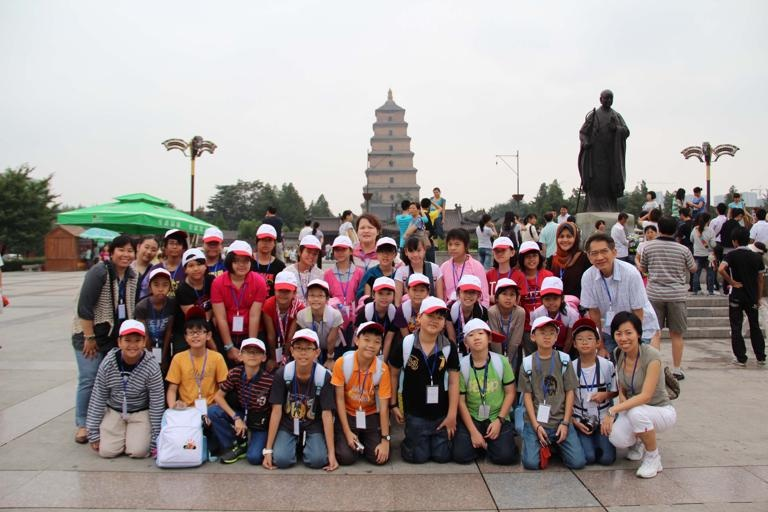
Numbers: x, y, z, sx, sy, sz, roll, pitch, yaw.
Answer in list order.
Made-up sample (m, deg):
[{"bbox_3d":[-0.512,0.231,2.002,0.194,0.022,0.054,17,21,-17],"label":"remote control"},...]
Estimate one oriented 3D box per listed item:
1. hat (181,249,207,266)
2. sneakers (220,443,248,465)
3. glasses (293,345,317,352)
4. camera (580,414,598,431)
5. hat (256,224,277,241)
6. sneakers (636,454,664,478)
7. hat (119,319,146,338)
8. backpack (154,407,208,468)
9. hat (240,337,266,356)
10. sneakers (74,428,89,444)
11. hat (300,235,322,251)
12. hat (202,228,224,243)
[{"bbox_3d":[-2.533,0.003,8.545,0.202,0.157,0.279,-6,-23,-25],"label":"hat"},{"bbox_3d":[-1.784,2.367,7.719,0.127,0.186,0.388,13,16,35],"label":"sneakers"},{"bbox_3d":[-0.933,1.079,7.646,0.283,0.086,0.063,-3,15,-11],"label":"glasses"},{"bbox_3d":[2.449,1.972,7.728,0.139,0.178,0.196,-17,27,33],"label":"camera"},{"bbox_3d":[-1.585,-0.331,9.143,0.289,0.226,0.481,1,1,-8],"label":"hat"},{"bbox_3d":[3.016,2.383,7.328,0.152,0.213,0.425,-17,-12,39],"label":"sneakers"},{"bbox_3d":[-3.035,0.845,7.841,0.282,0.169,0.311,-2,15,-6],"label":"hat"},{"bbox_3d":[-2.382,2.146,7.637,0.574,0.680,0.341,2,1,-15],"label":"backpack"},{"bbox_3d":[-1.618,1.083,7.962,0.187,0.268,0.265,2,-40,-4],"label":"hat"},{"bbox_3d":[-3.724,2.219,7.964,0.129,0.153,0.367,4,-3,-16],"label":"sneakers"},{"bbox_3d":[-1.027,-0.186,9.016,0.206,0.159,0.278,11,-5,-23],"label":"hat"},{"bbox_3d":[-2.390,-0.307,9.064,0.235,0.192,0.377,1,-7,-11],"label":"hat"}]
